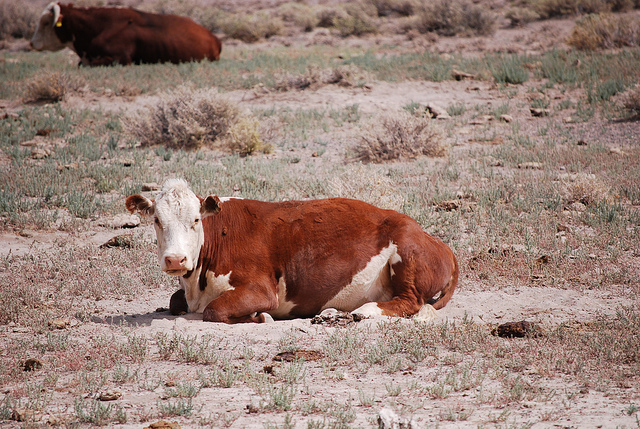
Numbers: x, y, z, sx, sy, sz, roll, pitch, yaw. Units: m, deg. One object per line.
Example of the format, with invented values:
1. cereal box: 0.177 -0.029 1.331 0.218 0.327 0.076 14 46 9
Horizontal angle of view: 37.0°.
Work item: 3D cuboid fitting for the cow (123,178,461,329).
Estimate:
1. cow: -0.530 0.704 22.797 7.011 3.355 2.711 -4 24 -5
